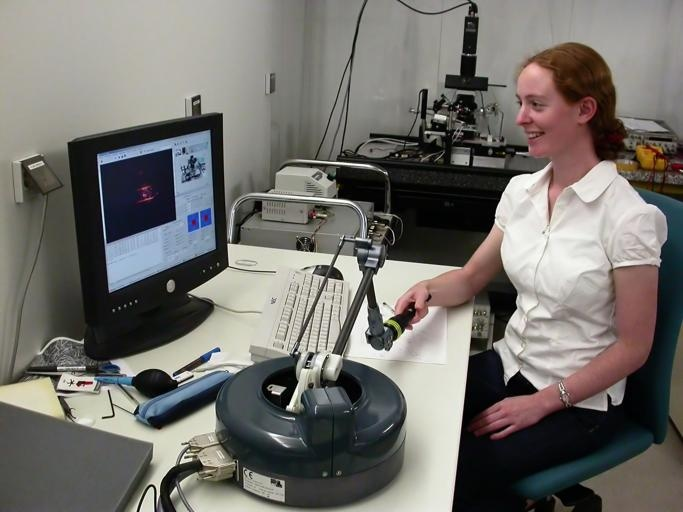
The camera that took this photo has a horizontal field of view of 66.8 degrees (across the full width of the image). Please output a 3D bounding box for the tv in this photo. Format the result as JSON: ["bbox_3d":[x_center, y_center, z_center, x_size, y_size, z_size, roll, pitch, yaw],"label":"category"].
[{"bbox_3d":[-0.535,-0.042,1.401,0.204,0.543,0.507,9,21,26],"label":"tv"}]

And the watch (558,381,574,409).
[{"bbox_3d":[0.614,0.382,1.427,0.036,0.068,0.062,0,-16,13],"label":"watch"}]

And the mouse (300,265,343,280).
[{"bbox_3d":[-0.062,0.052,1.735,0.084,0.032,0.065,0,11,-1],"label":"mouse"}]

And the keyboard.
[{"bbox_3d":[-0.099,0.168,1.521,0.263,0.073,0.479,2,23,-2],"label":"keyboard"}]

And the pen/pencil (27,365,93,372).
[{"bbox_3d":[-0.709,0.285,1.314,0.113,0.013,0.011,2,-3,-3],"label":"pen/pencil"}]
